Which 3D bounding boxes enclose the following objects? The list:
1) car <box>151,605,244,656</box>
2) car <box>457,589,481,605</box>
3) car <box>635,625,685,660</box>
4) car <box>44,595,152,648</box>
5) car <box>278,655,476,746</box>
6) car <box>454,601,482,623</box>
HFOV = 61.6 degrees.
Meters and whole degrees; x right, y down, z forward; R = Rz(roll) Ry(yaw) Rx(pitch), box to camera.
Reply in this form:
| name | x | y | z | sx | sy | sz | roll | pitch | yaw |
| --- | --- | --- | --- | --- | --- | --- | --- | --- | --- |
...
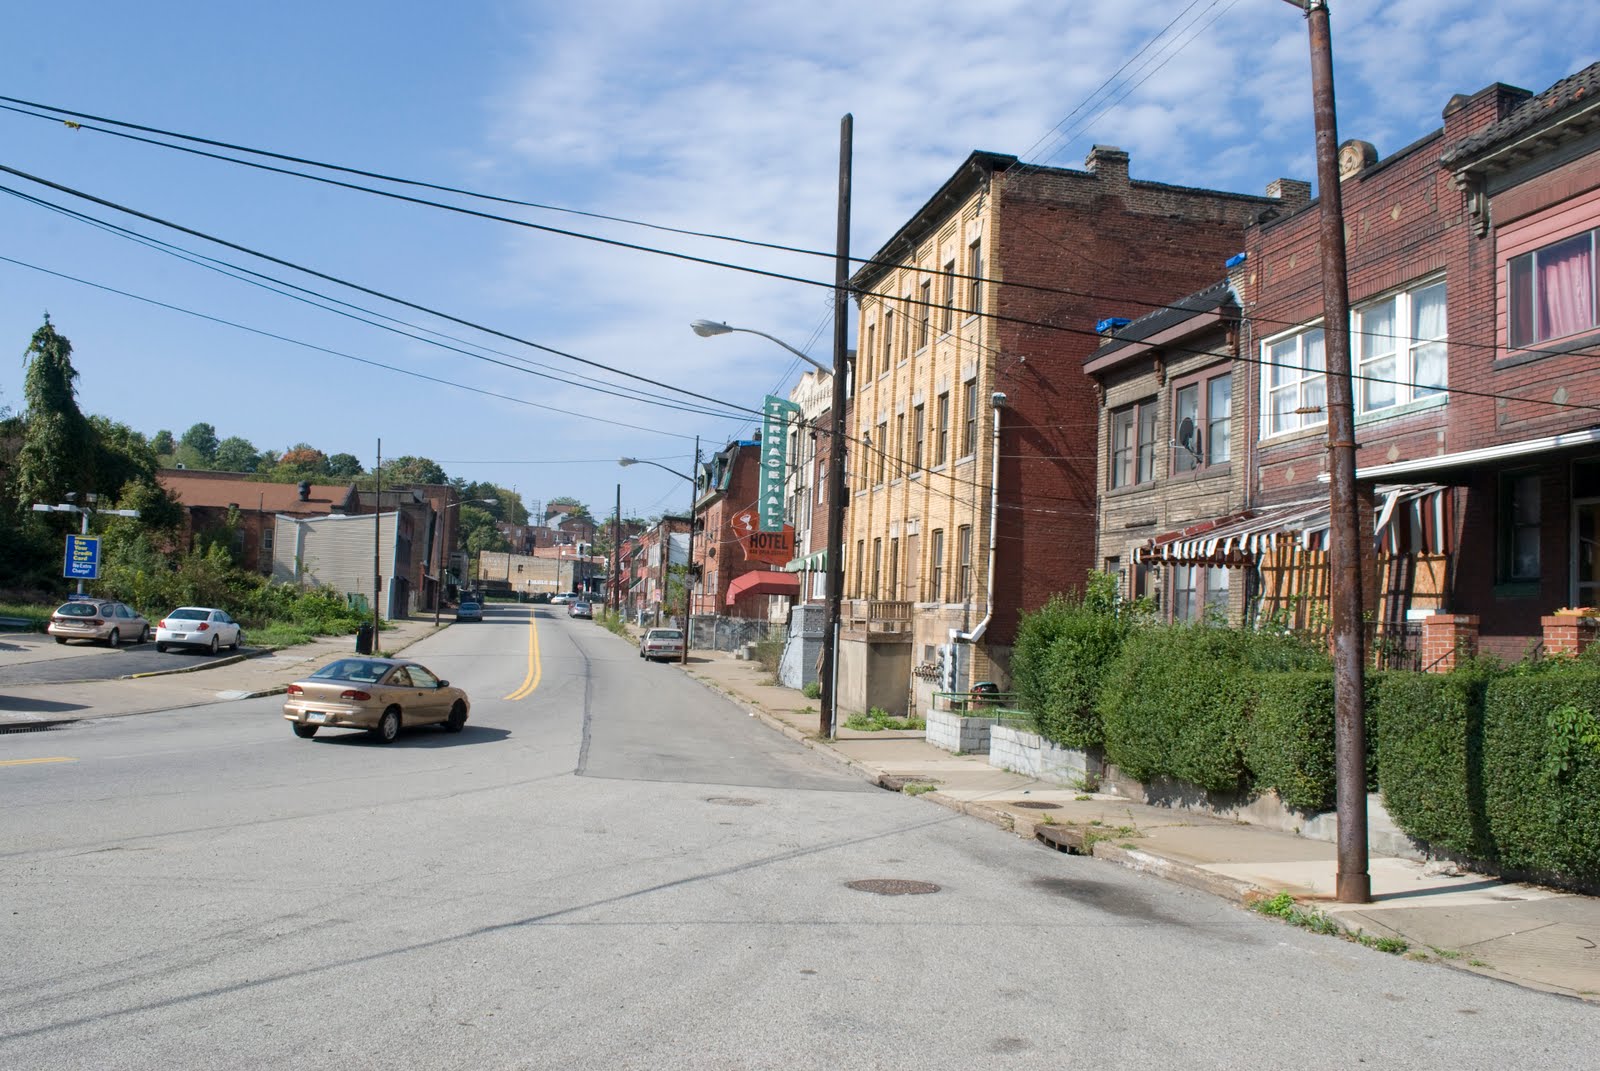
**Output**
| name | x | y | z | sx | sy | sz | roll | pitch | yaw |
| --- | --- | --- | --- | --- | --- | --- | --- | --- | --- |
| car | -19.887 | 3.116 | 44.234 | 1.712 | 1.551 | 2.157 | 1 | -7 | 9 |
| car | -28.493 | 5.208 | 114.773 | 1.247 | 1.146 | 2.069 | 1 | -1 | -12 |
| car | -6.194 | 4.868 | 59.524 | 1.934 | 1.455 | 1.522 | 1 | -7 | 10 |
| car | -23.437 | 2.941 | 44.980 | 1.903 | 1.534 | 2.466 | 1 | -7 | 10 |
| car | -8.286 | 3.249 | 26.843 | 1.577 | 1.155 | 3.485 | 1 | -1 | 19 |
| car | -23.624 | 5.368 | 95.391 | 1.458 | 1.240 | 2.504 | 1 | 5 | -19 |
